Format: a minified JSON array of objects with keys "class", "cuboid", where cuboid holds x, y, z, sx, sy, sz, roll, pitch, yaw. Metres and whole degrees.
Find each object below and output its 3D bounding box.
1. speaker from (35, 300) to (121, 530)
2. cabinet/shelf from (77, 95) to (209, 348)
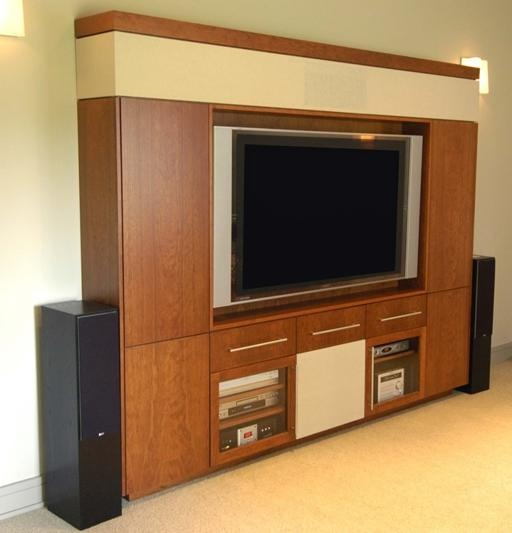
[{"class":"speaker","cuboid":[-0.800,0.649,2.232,0.445,0.958,0.214,3,6,26]},{"class":"cabinet/shelf","cuboid":[-0.489,-0.195,2.303,0.592,1.065,0.334,-1,5,-15]}]
